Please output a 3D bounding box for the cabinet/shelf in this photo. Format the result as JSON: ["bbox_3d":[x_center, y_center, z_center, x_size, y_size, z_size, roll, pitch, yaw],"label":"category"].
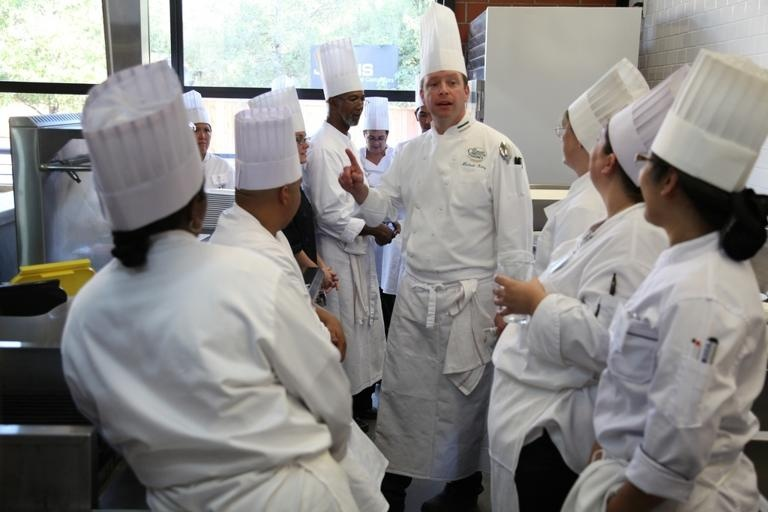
[{"bbox_3d":[1.170,-0.804,4.500,1.083,1.457,1.472,0,-2,7],"label":"cabinet/shelf"}]

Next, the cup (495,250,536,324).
[{"bbox_3d":[0.477,0.122,2.070,0.180,0.182,0.112,-3,-4,32],"label":"cup"}]

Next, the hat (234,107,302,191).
[{"bbox_3d":[-0.333,-0.354,1.994,0.228,0.249,0.247,-2,8,11],"label":"hat"}]

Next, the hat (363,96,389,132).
[{"bbox_3d":[-0.019,-1.090,4.570,0.239,0.232,0.231,0,10,9],"label":"hat"}]

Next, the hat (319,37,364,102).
[{"bbox_3d":[-0.258,-1.069,3.401,0.226,0.327,0.226,-6,19,-5],"label":"hat"}]

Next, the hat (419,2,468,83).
[{"bbox_3d":[0.263,-1.026,2.880,0.233,0.374,0.377,-3,2,-2],"label":"hat"}]
